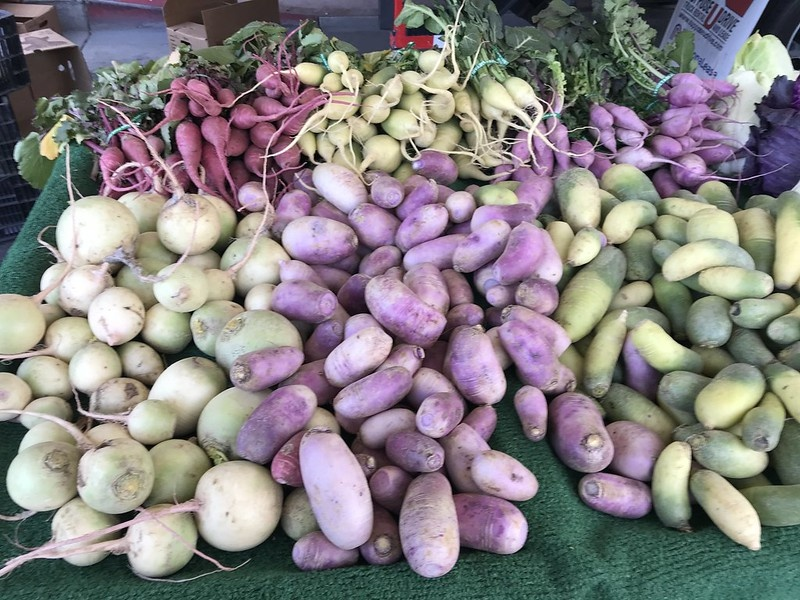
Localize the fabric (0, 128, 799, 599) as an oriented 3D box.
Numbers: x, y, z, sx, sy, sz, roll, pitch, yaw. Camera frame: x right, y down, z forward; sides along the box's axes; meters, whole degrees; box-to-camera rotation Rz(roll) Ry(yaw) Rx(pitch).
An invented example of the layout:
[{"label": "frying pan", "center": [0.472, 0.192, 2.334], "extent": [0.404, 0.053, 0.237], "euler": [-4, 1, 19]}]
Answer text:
[{"label": "fabric", "center": [-0.055, 0.174, 1.745], "extent": [2.419, 0.399, 1.258], "euler": [1, 45, -2]}]
